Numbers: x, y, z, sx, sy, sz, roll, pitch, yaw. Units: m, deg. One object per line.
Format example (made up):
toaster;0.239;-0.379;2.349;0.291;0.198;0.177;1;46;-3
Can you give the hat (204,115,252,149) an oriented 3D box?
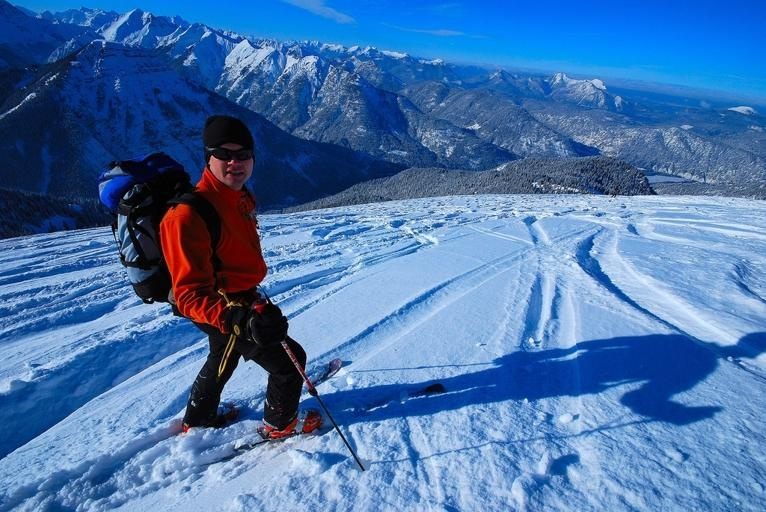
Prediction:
hat;-2.024;-1.670;6.286;0.614;0.436;0.435;7;-1;1

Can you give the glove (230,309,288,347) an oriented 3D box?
glove;-1.538;0.832;5.860;0.719;0.411;0.317;9;17;20
